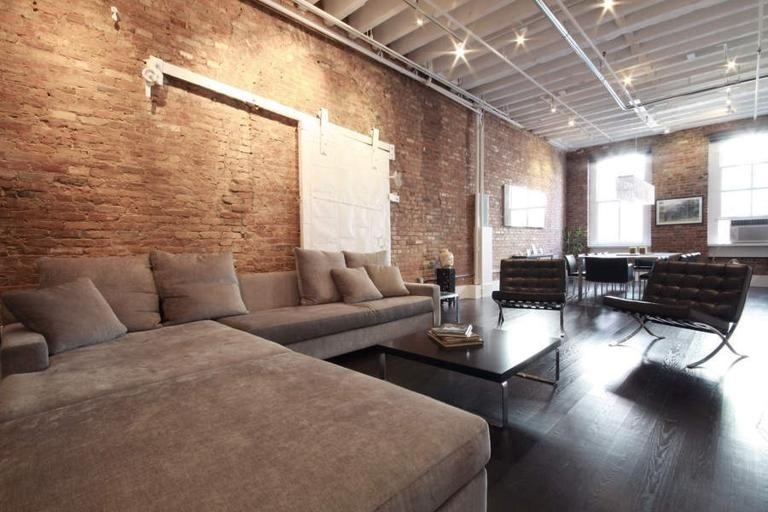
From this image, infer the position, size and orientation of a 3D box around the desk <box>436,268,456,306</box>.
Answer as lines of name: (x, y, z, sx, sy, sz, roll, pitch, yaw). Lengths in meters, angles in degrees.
desk: (1.069, 0.485, 7.794, 0.266, 0.531, 0.186, 31, -27, -32)

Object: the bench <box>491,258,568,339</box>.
bench: (1.904, 0.563, 6.158, 1.023, 0.939, 0.591, -1, -5, 24)

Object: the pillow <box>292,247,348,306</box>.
pillow: (-0.759, 0.266, 5.574, 0.304, 0.481, 0.650, 9, 15, 44)

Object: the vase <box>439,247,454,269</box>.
vase: (1.088, 0.052, 8.040, 0.341, 0.371, 0.303, -1, 0, 16)

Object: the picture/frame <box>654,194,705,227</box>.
picture/frame: (6.733, -1.046, 10.754, 0.034, 0.582, 0.870, 0, -1, -43)

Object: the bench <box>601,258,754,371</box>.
bench: (3.311, 0.451, 5.412, 1.292, 1.217, 1.423, -5, 2, -23)
